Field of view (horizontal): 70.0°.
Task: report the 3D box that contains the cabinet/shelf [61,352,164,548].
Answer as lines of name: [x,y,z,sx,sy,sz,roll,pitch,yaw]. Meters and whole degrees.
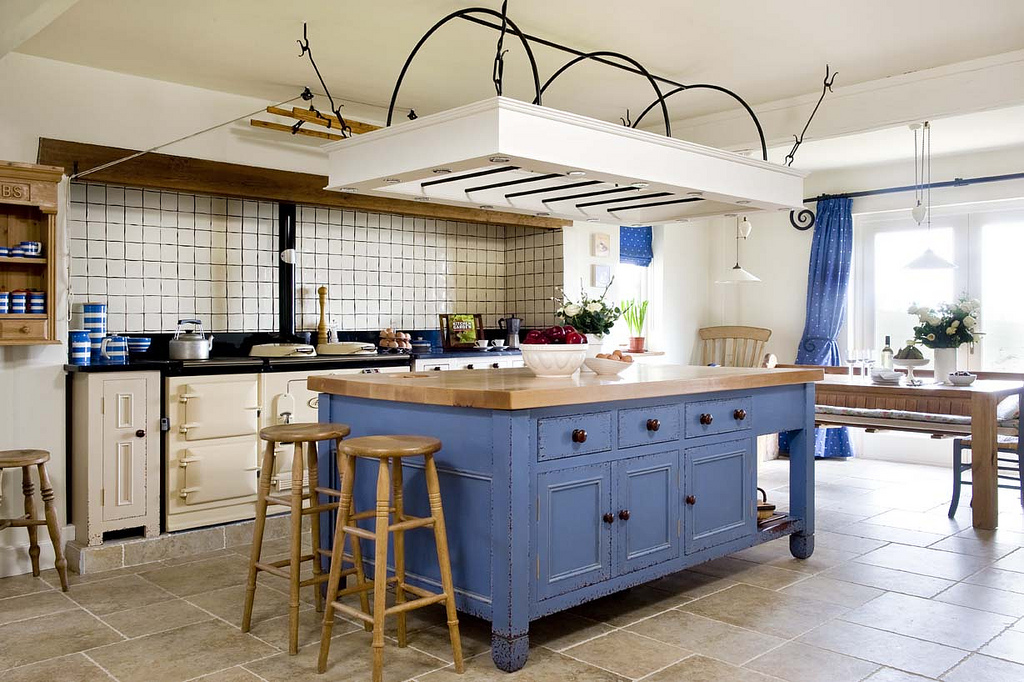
cabinet/shelf: [-2.703,0.778,4.997,0.523,1.029,0.396,2,-5,-41]

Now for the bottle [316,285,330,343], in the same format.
bottle: [-1.637,-0.231,6.287,0.110,0.503,0.449,-1,3,-14]

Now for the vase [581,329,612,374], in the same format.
vase: [0.541,0.068,4.850,0.254,0.318,0.239,2,2,9]

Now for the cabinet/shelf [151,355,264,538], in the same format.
cabinet/shelf: [-2.250,0.778,5.359,0.662,1.012,0.622,1,-3,-38]

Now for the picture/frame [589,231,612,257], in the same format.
picture/frame: [0.904,-1.009,7.635,0.323,0.249,0.042,2,-5,-42]

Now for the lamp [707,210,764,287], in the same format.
lamp: [2.536,-1.082,8.219,0.459,0.865,2.018,1,3,17]

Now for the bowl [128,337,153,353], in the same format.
bowl: [-2.797,0.040,5.474,0.142,0.082,0.139,0,-2,0]

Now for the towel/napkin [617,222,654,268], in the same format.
towel/napkin: [1.406,-1.069,8.263,0.093,0.456,0.531,3,4,44]

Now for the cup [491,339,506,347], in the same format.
cup: [-0.139,0.027,7.061,0.083,0.073,0.116,2,-5,-29]

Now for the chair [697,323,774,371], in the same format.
chair: [2.599,0.072,8.734,0.656,0.869,0.677,0,-2,13]

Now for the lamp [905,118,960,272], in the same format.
lamp: [4.214,-1.569,7.540,0.557,1.533,0.521,-7,15,12]

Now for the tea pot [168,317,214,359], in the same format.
tea pot: [-2.453,-0.005,5.453,0.290,0.356,0.446,1,-3,-9]

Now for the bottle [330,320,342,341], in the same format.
bottle: [-1.584,-0.090,6.458,0.088,0.174,0.208,-1,3,-13]

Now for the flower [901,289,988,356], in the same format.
flower: [3.664,-0.084,6.188,0.606,0.444,0.677,-1,-3,33]

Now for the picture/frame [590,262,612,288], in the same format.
picture/frame: [0.910,-0.685,7.633,0.043,0.207,0.320,-5,-5,41]

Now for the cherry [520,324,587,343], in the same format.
cherry: [0.258,-0.038,4.492,0.369,0.110,0.424,0,2,4]

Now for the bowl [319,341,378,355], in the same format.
bowl: [-1.376,0.068,6.006,0.453,0.092,0.495,0,2,0]

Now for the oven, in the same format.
oven: [-2.257,0.764,5.329,0.547,1.007,0.636,2,2,44]
